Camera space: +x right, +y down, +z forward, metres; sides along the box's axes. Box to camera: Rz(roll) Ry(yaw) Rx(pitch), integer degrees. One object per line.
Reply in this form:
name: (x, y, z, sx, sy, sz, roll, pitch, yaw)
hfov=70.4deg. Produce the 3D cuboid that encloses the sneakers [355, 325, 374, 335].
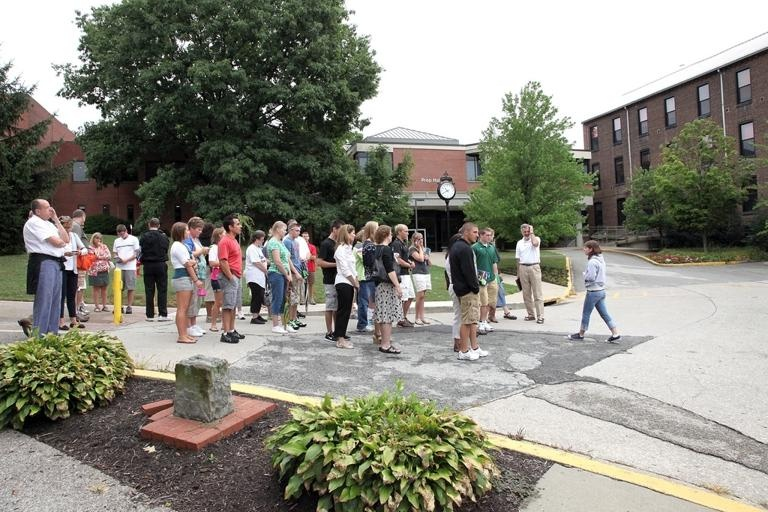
sneakers: (-0.418, 1.596, 11.780, 0.389, 0.163, 0.153, -9, -9, 33)

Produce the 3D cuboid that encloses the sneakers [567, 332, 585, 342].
sneakers: (3.761, 1.591, 10.678, 0.255, 0.107, 0.136, 0, 0, 39)

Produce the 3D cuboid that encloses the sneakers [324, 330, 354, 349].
sneakers: (-0.861, 1.590, 10.215, 0.227, 0.275, 0.656, -1, -2, -39)

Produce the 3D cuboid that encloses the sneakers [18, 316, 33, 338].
sneakers: (-6.154, 1.225, 9.287, 0.188, 0.427, 0.156, -7, -9, -29)

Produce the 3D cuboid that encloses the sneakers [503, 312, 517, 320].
sneakers: (3.040, 1.454, 13.098, 0.316, 0.144, 0.153, -2, 2, 33)

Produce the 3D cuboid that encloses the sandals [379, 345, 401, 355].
sandals: (0.098, 1.664, 9.617, 0.308, 0.101, 0.163, -2, -2, 25)

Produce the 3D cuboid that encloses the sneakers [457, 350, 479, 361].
sneakers: (1.430, 1.691, 9.283, 0.317, 0.140, 0.153, 0, 4, 5)

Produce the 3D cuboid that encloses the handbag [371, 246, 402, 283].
handbag: (-0.009, 0.163, 9.711, 0.539, 0.965, 0.983, -3, 0, 5)

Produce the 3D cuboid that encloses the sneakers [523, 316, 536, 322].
sneakers: (3.452, 1.482, 12.899, 0.266, 0.108, 0.102, 1, 0, 6)

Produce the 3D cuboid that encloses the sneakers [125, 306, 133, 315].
sneakers: (-6.201, 1.309, 13.117, 0.137, 0.138, 0.336, 1, -5, -14)

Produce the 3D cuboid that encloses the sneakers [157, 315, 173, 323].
sneakers: (-4.859, 1.388, 12.004, 0.354, 0.153, 0.136, -1, 4, -8)

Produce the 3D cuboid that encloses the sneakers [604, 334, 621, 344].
sneakers: (4.435, 1.577, 10.441, 0.340, 0.143, 0.132, -2, 2, -2)

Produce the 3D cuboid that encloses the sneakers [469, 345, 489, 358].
sneakers: (1.654, 1.657, 9.424, 0.410, 0.178, 0.157, 0, 8, -12)
